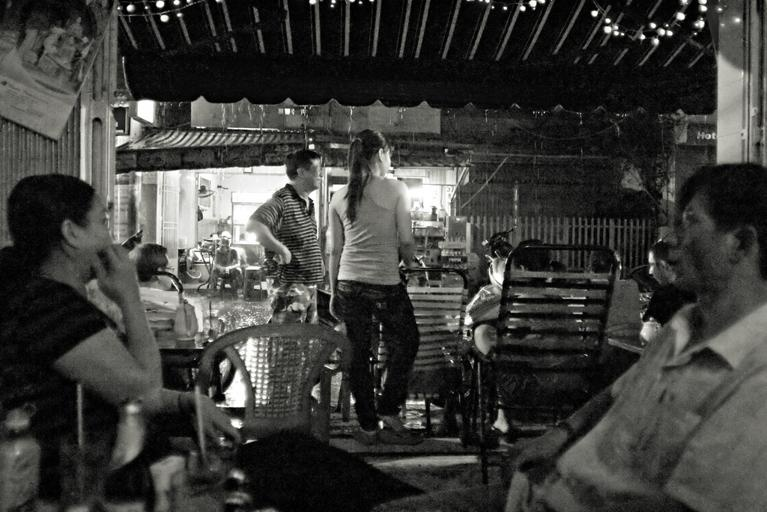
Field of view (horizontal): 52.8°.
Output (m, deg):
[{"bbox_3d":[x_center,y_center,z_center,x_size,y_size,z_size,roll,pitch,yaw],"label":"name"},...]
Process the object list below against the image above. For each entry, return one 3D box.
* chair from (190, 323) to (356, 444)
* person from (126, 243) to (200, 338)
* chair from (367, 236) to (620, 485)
[{"bbox_3d":[-0.647,0.651,4.428,0.690,0.902,0.661,-1,12,-13],"label":"chair"},{"bbox_3d":[-1.618,0.345,5.410,0.532,0.746,0.230,3,17,17],"label":"person"},{"bbox_3d":[1.179,0.624,6.142,1.147,1.485,2.190,1,3,-1],"label":"chair"}]
